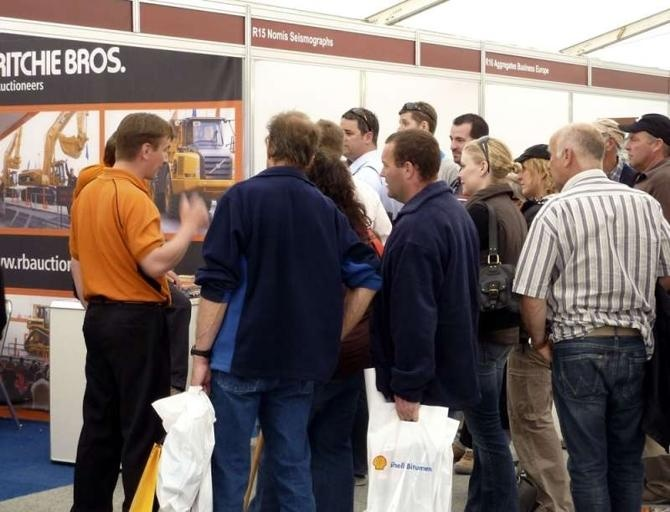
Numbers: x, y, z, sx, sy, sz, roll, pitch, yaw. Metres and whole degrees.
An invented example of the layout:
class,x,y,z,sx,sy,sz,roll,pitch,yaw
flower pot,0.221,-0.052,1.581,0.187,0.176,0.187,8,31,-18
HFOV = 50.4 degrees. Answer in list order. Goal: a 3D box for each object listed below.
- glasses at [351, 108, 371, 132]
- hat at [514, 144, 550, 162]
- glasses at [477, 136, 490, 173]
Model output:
class,x,y,z,sx,sy,sz,roll,pitch,yaw
glasses,0.171,-0.905,4.773,0.115,0.097,0.112,18,12,-28
hat,1.168,-0.595,4.260,0.176,0.097,0.127,5,6,26
glasses,0.800,-0.557,3.822,0.045,0.152,0.110,-5,-7,9
